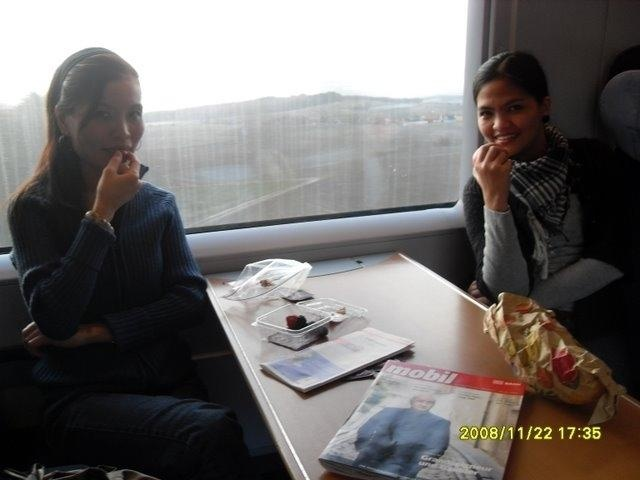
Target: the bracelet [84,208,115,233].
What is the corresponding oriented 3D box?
[{"bbox_3d":[-0.631,-0.054,1.258,0.079,0.026,0.057,31,9,-10],"label":"bracelet"}]
